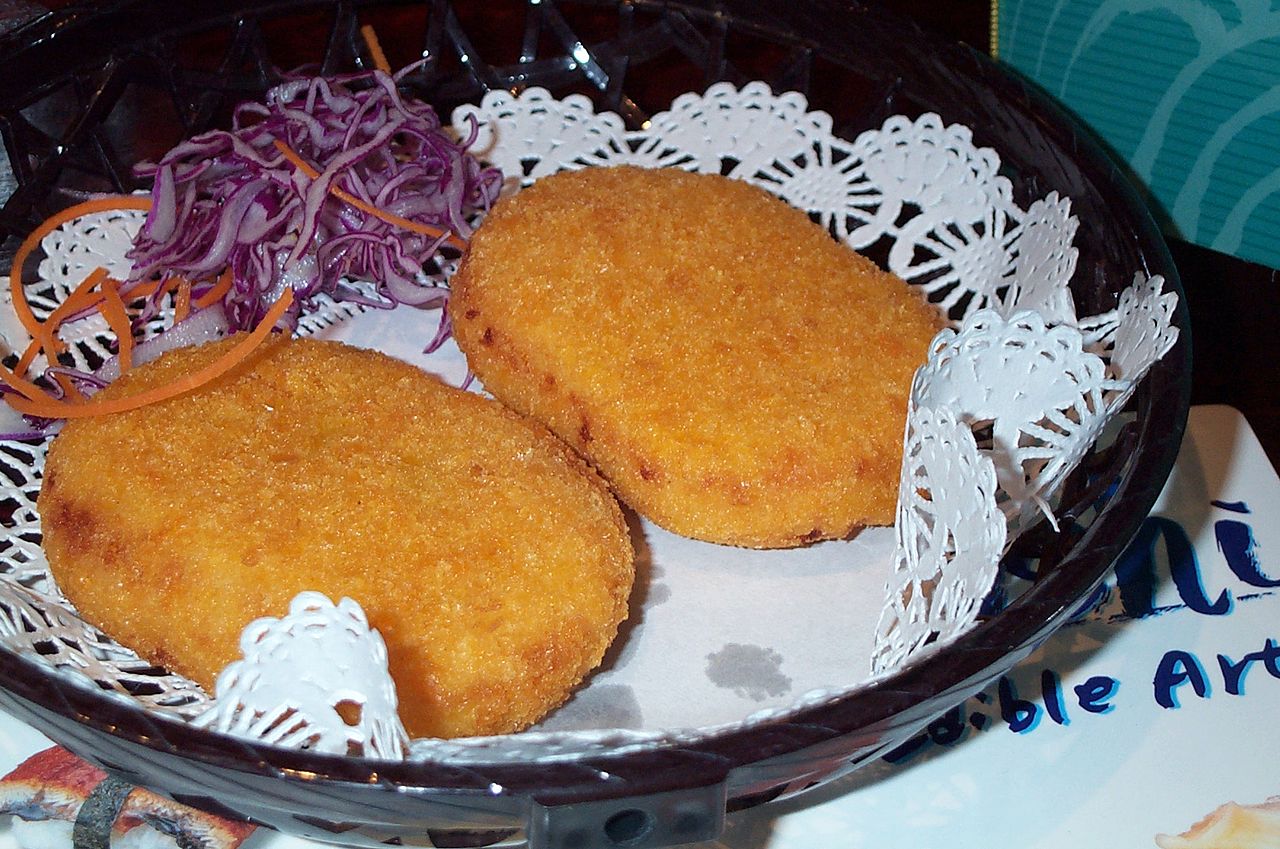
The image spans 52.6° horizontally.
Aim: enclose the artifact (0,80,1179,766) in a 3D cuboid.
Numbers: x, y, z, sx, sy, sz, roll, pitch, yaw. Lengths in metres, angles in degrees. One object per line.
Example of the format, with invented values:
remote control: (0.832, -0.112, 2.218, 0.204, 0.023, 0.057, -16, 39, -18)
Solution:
artifact: (0.231, -0.040, 1.553, 1.001, 0.284, 0.988, -2, 43, 1)
